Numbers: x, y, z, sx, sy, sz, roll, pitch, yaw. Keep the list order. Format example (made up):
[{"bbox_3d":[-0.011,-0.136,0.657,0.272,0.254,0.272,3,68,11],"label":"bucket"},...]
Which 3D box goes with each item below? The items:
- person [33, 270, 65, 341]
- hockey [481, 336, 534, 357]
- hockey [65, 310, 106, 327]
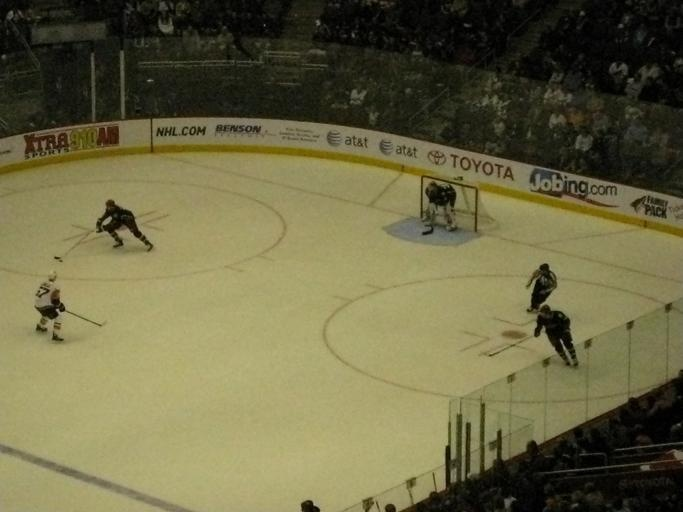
[{"bbox_3d":[-7.279,1.389,24.986,0.897,1.467,0.552,28,32,37],"label":"person"},{"bbox_3d":[4.032,2.293,24.740,1.486,0.028,0.388,-17,29,-37],"label":"hockey"},{"bbox_3d":[-6.658,1.649,26.036,0.967,0.181,0.158,20,11,21],"label":"hockey"}]
